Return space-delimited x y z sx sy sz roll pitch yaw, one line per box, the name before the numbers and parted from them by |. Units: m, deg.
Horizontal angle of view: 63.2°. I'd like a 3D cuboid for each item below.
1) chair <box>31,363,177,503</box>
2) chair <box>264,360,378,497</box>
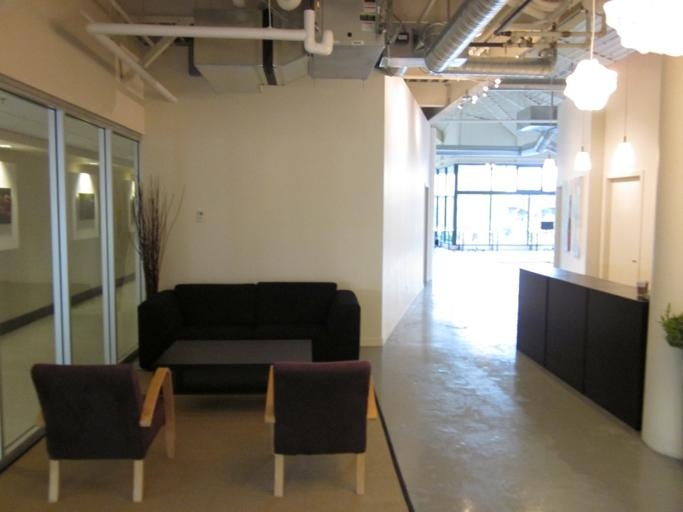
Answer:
chair | -1.974 1.461 5.126 0.918 1.234 1.271 0 -3 -1
chair | -0.221 1.428 5.252 1.010 1.286 1.095 0 9 -1
